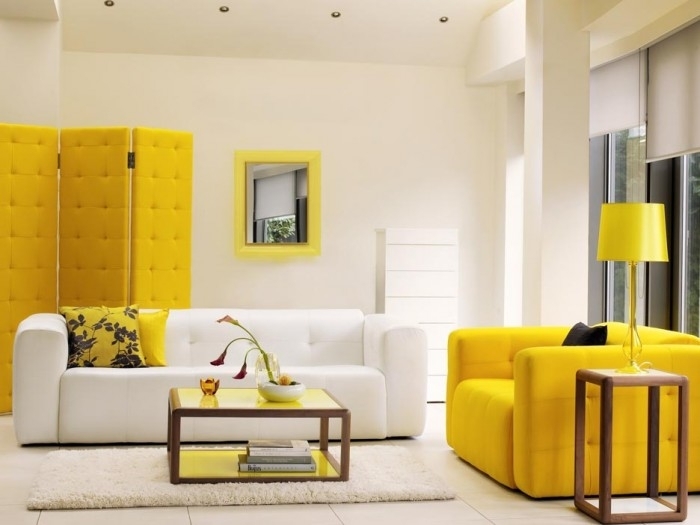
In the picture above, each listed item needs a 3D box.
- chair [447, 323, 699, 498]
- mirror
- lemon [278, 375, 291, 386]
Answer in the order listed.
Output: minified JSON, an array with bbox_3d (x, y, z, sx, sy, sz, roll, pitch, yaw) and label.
[{"bbox_3d":[1.383,0.964,4.409,1.088,0.975,1.456,2,-4,-4],"label":"chair"},{"bbox_3d":[-0.830,-0.683,7.332,1.180,1.341,0.098,1,0,-8],"label":"mirror"},{"bbox_3d":[-0.417,0.755,4.275,0.079,0.055,0.082,1,6,2],"label":"lemon"}]
